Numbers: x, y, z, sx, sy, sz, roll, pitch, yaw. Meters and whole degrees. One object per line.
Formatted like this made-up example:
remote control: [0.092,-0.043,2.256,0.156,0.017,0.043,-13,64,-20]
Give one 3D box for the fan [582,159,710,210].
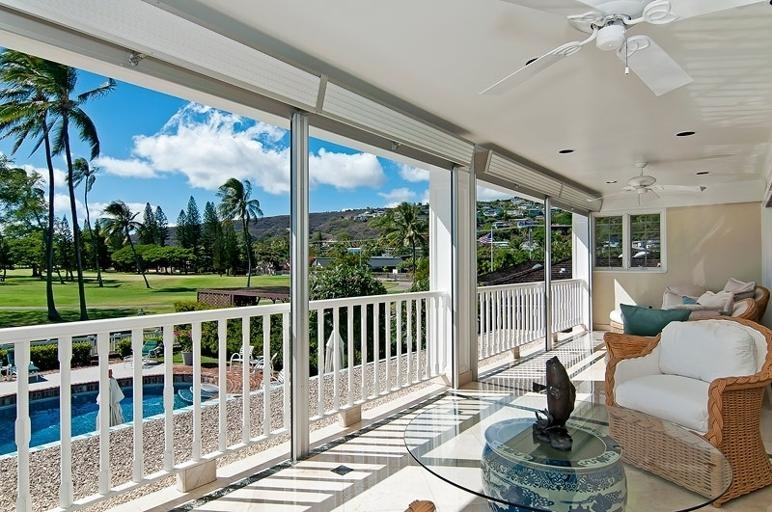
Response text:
fan: [3.948,-1.023,6.949,1.020,0.363,1.049,-5,4,-30]
